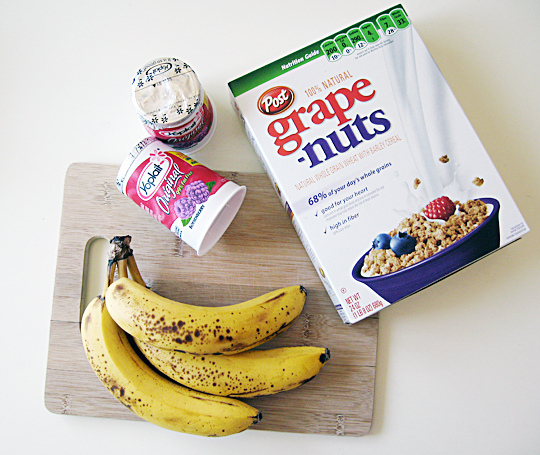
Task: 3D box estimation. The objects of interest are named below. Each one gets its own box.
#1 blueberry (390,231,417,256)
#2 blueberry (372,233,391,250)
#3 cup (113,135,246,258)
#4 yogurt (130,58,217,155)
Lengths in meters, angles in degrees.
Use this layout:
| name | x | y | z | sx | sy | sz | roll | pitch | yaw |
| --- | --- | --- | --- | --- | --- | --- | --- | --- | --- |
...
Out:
| name | x | y | z | sx | sy | sz | roll | pitch | yaw |
| --- | --- | --- | --- | --- | --- | --- | --- | --- | --- |
| blueberry | 0.287 | 0.035 | 1.187 | 0.047 | 0.046 | 0.064 | -42 | -6 | 12 |
| blueberry | 0.242 | 0.031 | 1.188 | 0.032 | 0.041 | 0.032 | 3 | -19 | -4 |
| cup | -0.205 | -0.057 | 1.242 | 0.148 | 0.192 | 0.143 | -56 | -9 | -13 |
| yogurt | -0.219 | -0.260 | 1.213 | 0.121 | 0.130 | 0.127 | -2 | -40 | -31 |
